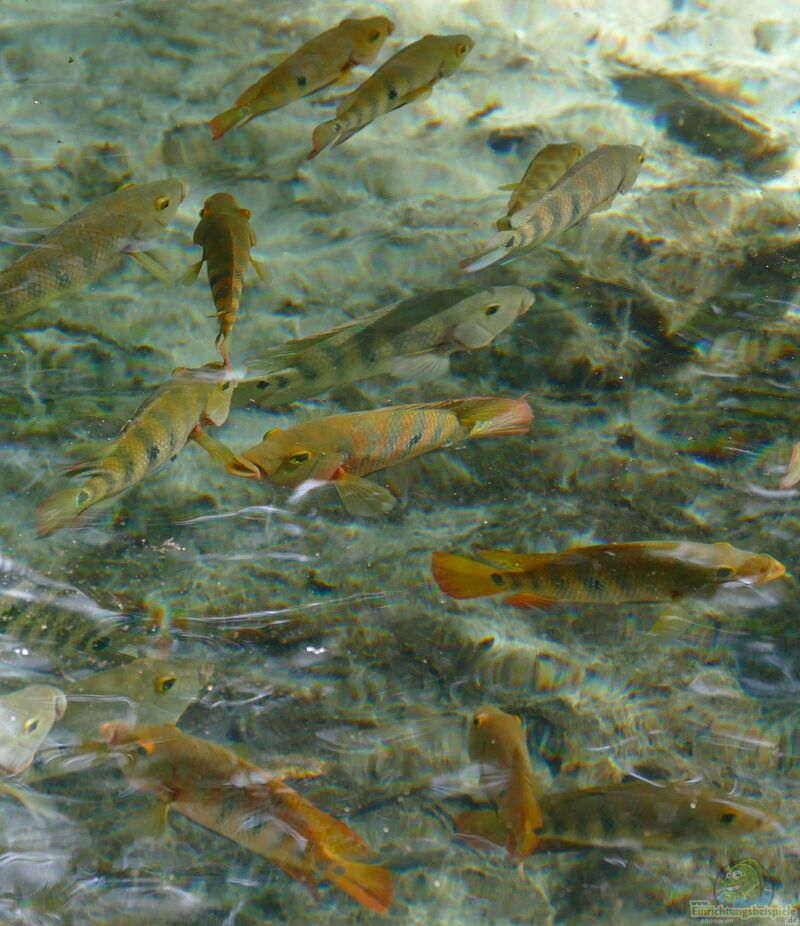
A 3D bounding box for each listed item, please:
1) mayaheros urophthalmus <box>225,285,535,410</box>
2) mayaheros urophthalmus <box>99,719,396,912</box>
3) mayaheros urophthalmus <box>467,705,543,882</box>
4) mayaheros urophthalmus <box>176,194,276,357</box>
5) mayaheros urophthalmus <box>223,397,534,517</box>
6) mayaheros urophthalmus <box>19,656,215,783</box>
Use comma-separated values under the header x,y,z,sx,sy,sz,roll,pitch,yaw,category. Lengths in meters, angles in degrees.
x,y,z,sx,sy,sz,roll,pitch,yaw,category
-0.064,-0.414,3.826,1.022,0.498,0.290,-2,23,-25,mayaheros urophthalmus
-0.428,0.975,2.988,1.015,0.245,0.284,21,17,25,mayaheros urophthalmus
0.304,0.993,3.221,0.128,0.434,0.409,0,20,-23,mayaheros urophthalmus
-0.566,-0.685,3.744,0.307,0.251,0.646,-3,41,-2,mayaheros urophthalmus
-0.040,-0.050,3.507,1.238,0.305,0.338,-12,41,-36,mayaheros urophthalmus
-0.898,0.791,3.301,0.912,0.240,0.178,-18,2,20,mayaheros urophthalmus
